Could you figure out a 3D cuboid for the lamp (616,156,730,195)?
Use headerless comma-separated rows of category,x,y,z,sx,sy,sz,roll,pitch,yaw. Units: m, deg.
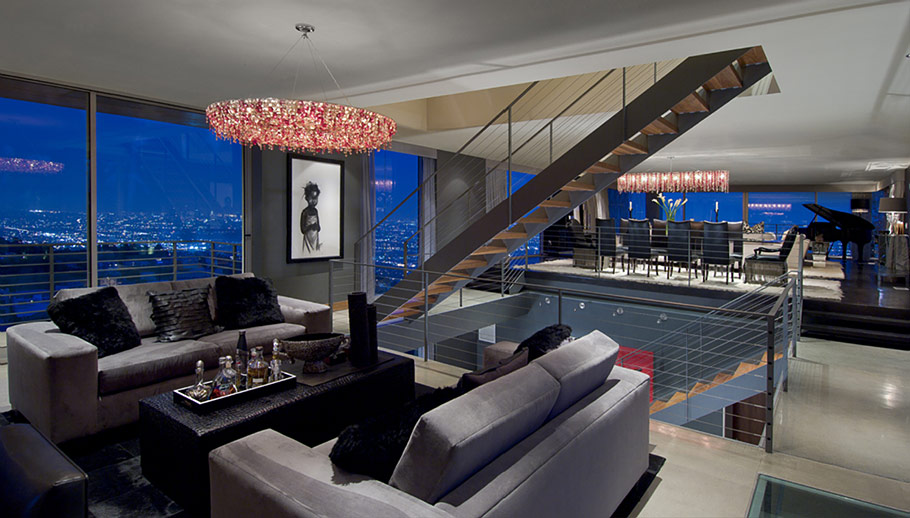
lamp,4.784,-1.719,12.111,2.241,0.410,0.498,0,5,11

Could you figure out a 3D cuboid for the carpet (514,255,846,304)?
carpet,3.821,0.416,9.827,5.021,0.445,1.986,2,6,32

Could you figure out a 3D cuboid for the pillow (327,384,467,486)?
pillow,-0.455,1.318,4.153,0.830,0.241,0.517,-29,35,-31

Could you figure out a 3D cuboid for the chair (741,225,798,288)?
chair,5.256,-0.036,9.232,1.097,1.210,0.849,5,7,35

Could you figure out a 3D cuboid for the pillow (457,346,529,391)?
pillow,0.321,0.876,4.424,0.339,0.115,0.336,-16,4,-38

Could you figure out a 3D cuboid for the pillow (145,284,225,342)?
pillow,-3.009,0.614,6.089,0.579,0.525,0.217,-8,-22,-40

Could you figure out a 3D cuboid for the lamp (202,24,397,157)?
lamp,-1.642,-1.433,5.837,1.526,0.941,1.458,-2,-9,10
